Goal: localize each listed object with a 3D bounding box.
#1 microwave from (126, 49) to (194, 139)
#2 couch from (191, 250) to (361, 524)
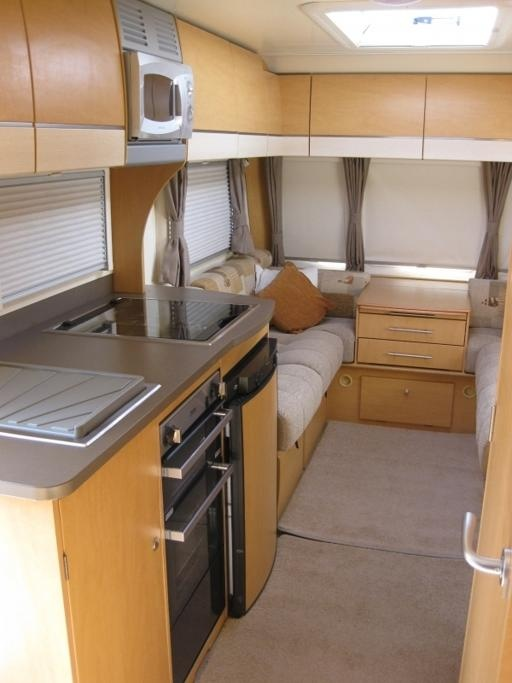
[{"bbox_3d":[-0.279,-0.704,1.581,0.181,0.227,0.322,6,27,8],"label":"microwave"},{"bbox_3d":[0.130,0.172,3.156,0.811,0.826,1.680,11,18,20],"label":"couch"}]
